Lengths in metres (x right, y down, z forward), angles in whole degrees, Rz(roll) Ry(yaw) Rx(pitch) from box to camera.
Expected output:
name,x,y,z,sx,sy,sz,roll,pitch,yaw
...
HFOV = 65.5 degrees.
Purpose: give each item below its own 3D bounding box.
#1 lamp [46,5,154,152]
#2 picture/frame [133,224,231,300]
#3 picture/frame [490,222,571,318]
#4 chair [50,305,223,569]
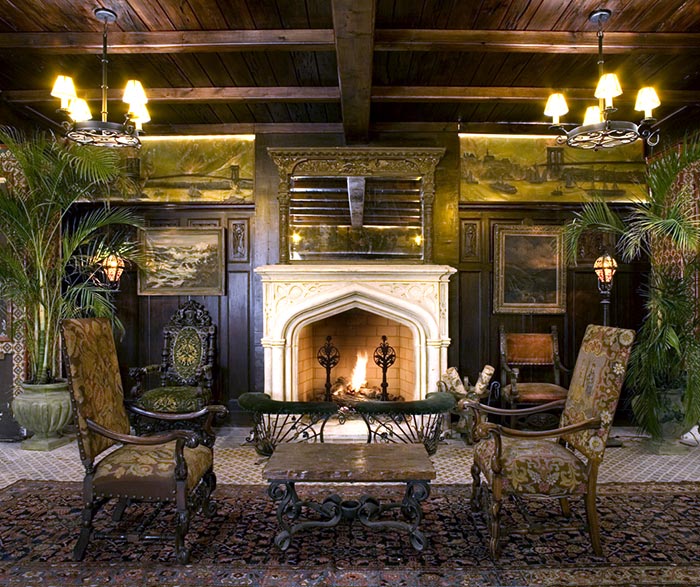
name,x,y,z,sx,sy,sz,roll,pitch,yaw
lamp,-2.369,-2.064,5.159,1.113,1.205,0.790,-2,14,-22
picture/frame,-2.132,-0.389,6.987,1.214,0.804,0.080,1,2,3
picture/frame,2.280,-0.314,6.947,0.882,1.105,0.261,1,4,8
chair,-1.516,0.975,3.966,0.982,1.584,0.908,0,4,-9
